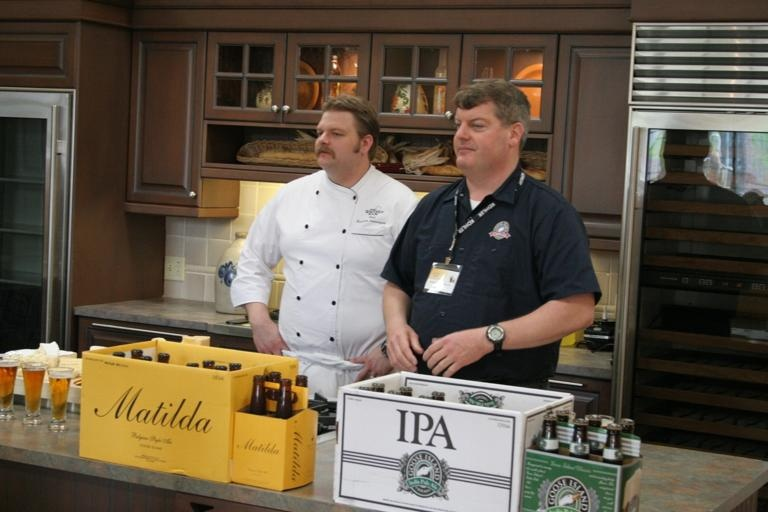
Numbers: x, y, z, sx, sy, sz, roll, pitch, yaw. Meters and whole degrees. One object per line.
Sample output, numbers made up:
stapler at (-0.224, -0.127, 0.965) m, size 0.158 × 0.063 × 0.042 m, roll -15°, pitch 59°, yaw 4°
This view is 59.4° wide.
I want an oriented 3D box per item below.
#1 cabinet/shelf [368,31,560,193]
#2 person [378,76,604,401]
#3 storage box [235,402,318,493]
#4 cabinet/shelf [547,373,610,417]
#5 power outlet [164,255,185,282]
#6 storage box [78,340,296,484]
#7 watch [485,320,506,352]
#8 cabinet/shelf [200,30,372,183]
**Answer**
cabinet/shelf at (0.463, -0.761, 3.844) m, size 1.095 × 0.912 × 0.276 m, roll 9°, pitch 10°, yaw 28°
person at (0.315, -0.114, 2.360) m, size 0.739 × 0.973 × 0.532 m, roll -9°, pitch 9°, yaw -1°
storage box at (-0.294, 0.525, 1.921) m, size 0.230 × 0.201 × 0.217 m, roll 4°, pitch 3°, yaw 27°
cabinet/shelf at (0.995, 0.641, 3.478) m, size 0.316 × 0.274 × 0.206 m, roll 2°, pitch 1°, yaw 32°
power outlet at (-1.471, 0.087, 4.769) m, size 0.210 × 0.205 × 0.050 m, roll 1°, pitch -2°, yaw 25°
storage box at (-0.590, 0.427, 1.965) m, size 0.684 × 0.338 × 0.366 m, roll 7°, pitch 8°, yaw 26°
watch at (0.363, 0.257, 2.186) m, size 0.061 × 0.073 × 0.081 m, roll -6°, pitch -18°, yaw 11°
cabinet/shelf at (-0.529, -0.888, 4.148) m, size 1.152 × 0.869 × 0.319 m, roll 9°, pitch 9°, yaw 25°
